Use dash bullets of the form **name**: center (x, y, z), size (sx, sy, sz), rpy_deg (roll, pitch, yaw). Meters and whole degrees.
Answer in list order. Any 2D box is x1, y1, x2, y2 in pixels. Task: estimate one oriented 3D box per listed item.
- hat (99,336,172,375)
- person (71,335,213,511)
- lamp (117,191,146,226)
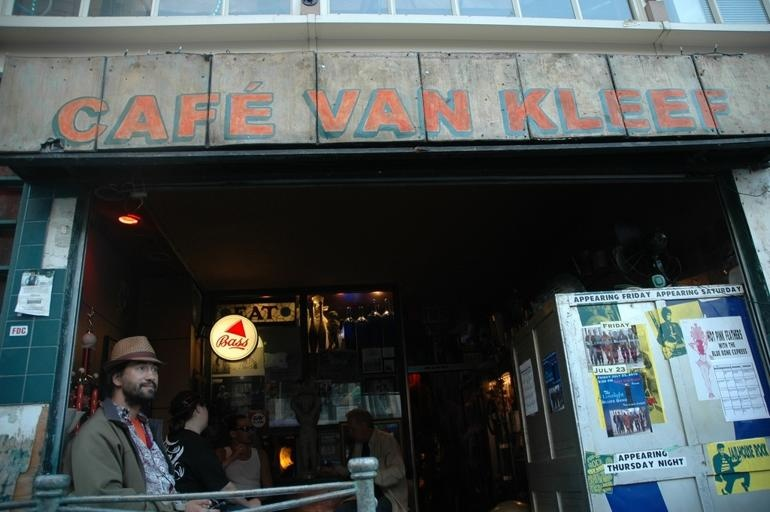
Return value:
- **hat**: center (-2.541, 0.981, 5.448), size (0.599, 0.290, 0.479), rpy_deg (-22, -15, 28)
- **person**: center (-2.382, 1.583, 5.082), size (0.786, 1.681, 0.953), rpy_deg (-12, -17, 21)
- **lamp**: center (-3.132, -0.648, 6.731), size (0.332, 0.353, 0.322), rpy_deg (14, -10, -1)
